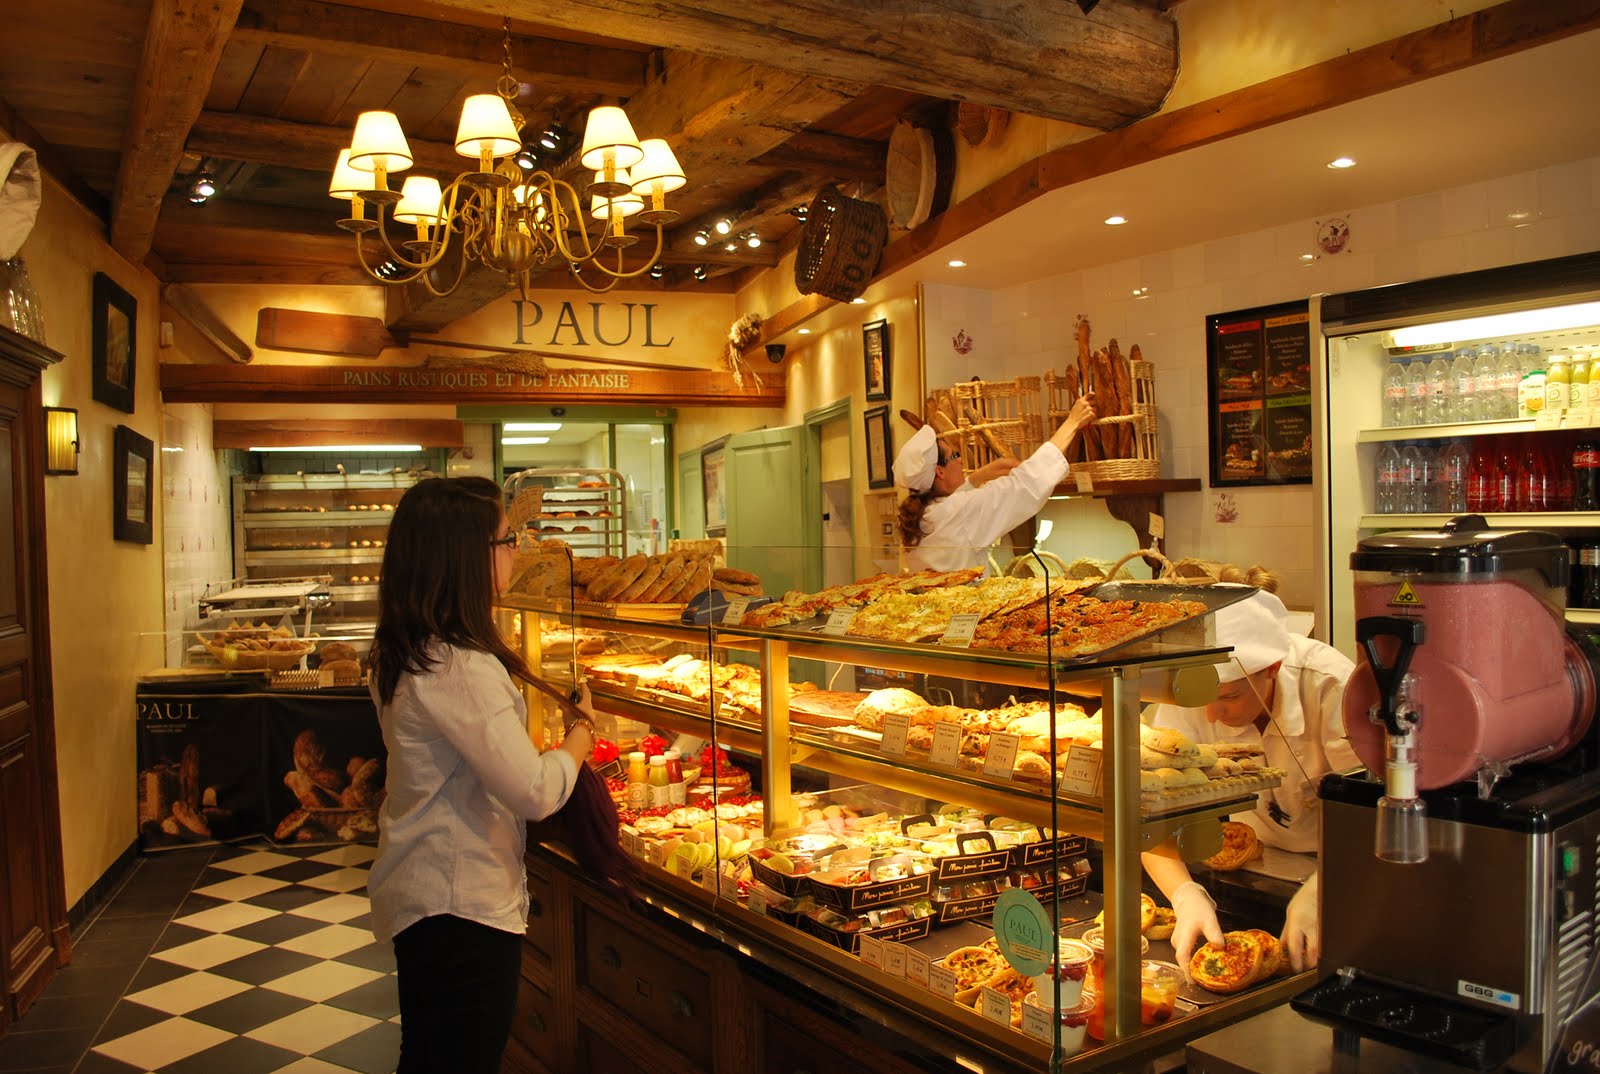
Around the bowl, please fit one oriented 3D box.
[{"bbox_3d":[0.661,1.002,2.436,0.235,0.111,0.326,1,-6,-39],"label":"bowl"}]

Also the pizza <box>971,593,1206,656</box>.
[{"bbox_3d":[0.678,0.202,2.628,0.271,0.028,0.246,-14,10,-36],"label":"pizza"}]

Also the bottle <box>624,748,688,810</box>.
[{"bbox_3d":[-0.569,0.935,4.286,0.210,0.188,0.199,2,5,38],"label":"bottle"}]

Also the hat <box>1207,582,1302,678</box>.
[{"bbox_3d":[1.175,0.253,2.833,0.228,0.128,0.293,-9,10,33],"label":"hat"}]

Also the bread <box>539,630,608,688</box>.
[{"bbox_3d":[-0.920,0.481,4.447,0.320,0.275,0.078,9,-3,43],"label":"bread"}]

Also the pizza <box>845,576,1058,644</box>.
[{"bbox_3d":[0.382,0.187,2.997,0.247,0.087,0.310,-13,4,-7],"label":"pizza"}]

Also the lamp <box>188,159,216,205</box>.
[{"bbox_3d":[-3.766,-2.255,6.918,0.095,0.244,0.156,24,8,-12],"label":"lamp"}]

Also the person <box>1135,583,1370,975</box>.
[{"bbox_3d":[1.176,0.560,2.865,0.454,0.729,0.959,-9,-1,35],"label":"person"}]

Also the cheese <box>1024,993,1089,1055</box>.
[{"bbox_3d":[0.564,1.089,2.437,0.135,0.104,0.051,-2,0,10],"label":"cheese"}]

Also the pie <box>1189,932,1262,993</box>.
[{"bbox_3d":[0.992,0.999,2.582,0.163,0.128,0.083,-2,0,5],"label":"pie"}]

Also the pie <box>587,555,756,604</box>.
[{"bbox_3d":[-0.532,0.145,4.014,0.324,0.103,0.331,4,-15,-3],"label":"pie"}]

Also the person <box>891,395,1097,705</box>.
[{"bbox_3d":[0.775,0.203,5.436,0.710,1.542,0.989,-25,32,-38],"label":"person"}]

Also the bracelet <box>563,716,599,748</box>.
[{"bbox_3d":[-0.636,0.559,3.153,0.078,0.036,0.094,-2,8,-16],"label":"bracelet"}]

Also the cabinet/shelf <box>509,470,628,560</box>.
[{"bbox_3d":[-1.651,-0.165,8.025,0.895,0.832,0.685,0,-1,-26],"label":"cabinet/shelf"}]

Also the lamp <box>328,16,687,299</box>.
[{"bbox_3d":[-1.355,-1.870,5.007,1.513,1.300,1.490,-4,3,-23],"label":"lamp"}]

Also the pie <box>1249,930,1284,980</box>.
[{"bbox_3d":[1.092,0.972,2.577,0.095,0.030,0.090,-10,14,-17],"label":"pie"}]

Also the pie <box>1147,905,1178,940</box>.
[{"bbox_3d":[0.877,0.934,2.662,0.090,0.032,0.082,-5,34,6],"label":"pie"}]

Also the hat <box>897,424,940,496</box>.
[{"bbox_3d":[0.500,-0.363,5.063,0.160,0.281,0.227,-3,32,-26],"label":"hat"}]

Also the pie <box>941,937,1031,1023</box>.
[{"bbox_3d":[0.441,1.049,2.609,0.129,0.046,0.160,-13,19,-6],"label":"pie"}]
